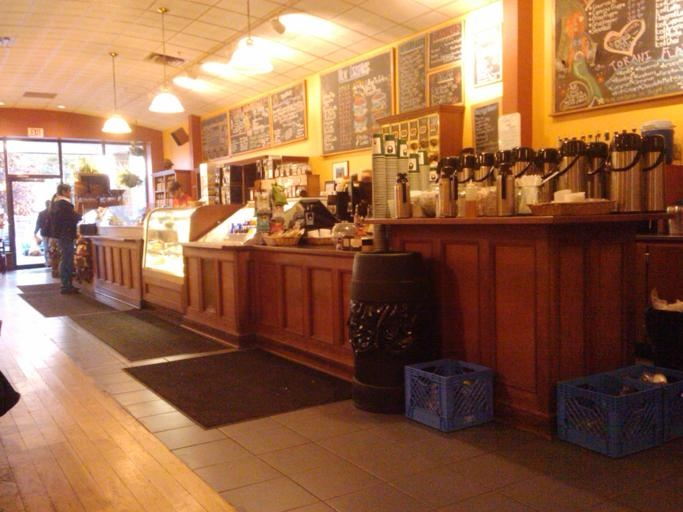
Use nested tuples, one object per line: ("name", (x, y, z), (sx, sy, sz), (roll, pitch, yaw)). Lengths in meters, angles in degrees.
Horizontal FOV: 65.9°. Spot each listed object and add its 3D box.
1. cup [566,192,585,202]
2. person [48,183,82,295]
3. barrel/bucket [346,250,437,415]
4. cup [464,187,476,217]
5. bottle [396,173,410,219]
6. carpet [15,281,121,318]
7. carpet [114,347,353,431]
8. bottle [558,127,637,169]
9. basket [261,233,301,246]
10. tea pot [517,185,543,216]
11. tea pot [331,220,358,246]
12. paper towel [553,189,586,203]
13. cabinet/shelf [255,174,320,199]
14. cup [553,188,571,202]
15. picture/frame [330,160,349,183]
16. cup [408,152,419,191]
("cup", (1.370, -0.344, 3.080), (0.074, 0.049, 0.071), (-5, -8, -1))
("person", (-4.912, -0.343, 9.397), (0.457, 1.851, 1.353), (-6, 8, -28))
("barrel/bucket", (0.328, 0.498, 3.509), (0.544, 1.042, 0.262), (-2, 7, 1))
("cup", (0.827, -0.343, 3.342), (0.073, 0.184, 0.065), (-1, 7, 11))
("bottle", (0.444, -0.425, 3.718), (0.108, 0.317, 0.115), (-2, 7, 0))
("carpet", (-4.442, 0.669, 8.298), (0.926, 0.069, 3.316), (-7, 8, -37))
("carpet", (-0.795, 0.985, 4.157), (1.214, 0.033, 1.726), (-7, 8, -39))
("bottle", (1.638, -0.681, 3.472), (0.476, 0.272, 0.456), (-2, 7, 0))
("basket", (-0.571, -0.161, 4.973), (0.394, 0.115, 0.222), (-1, 7, 6))
("tea pot", (1.153, -0.343, 3.249), (0.136, 0.177, 0.068), (0, 8, 19))
("tea pot", (0.027, -0.196, 4.396), (0.226, 0.188, 0.161), (5, 3, 21))
("paper towel", (1.341, -0.348, 3.103), (0.157, 0.072, 0.118), (7, 0, 6))
("cabinet/shelf", (-0.959, -1.290, 9.704), (0.640, 0.421, 1.190), (-7, 8, -36))
("cup", (1.324, -0.364, 3.170), (0.106, 0.072, 0.082), (-1, 3, 19))
("picture/frame", (-0.006, -1.421, 8.830), (0.285, 0.372, 0.591), (-2, 7, -2))
("cup", (0.567, -0.659, 4.098), (0.084, 0.281, 0.109), (-1, 7, 11))
